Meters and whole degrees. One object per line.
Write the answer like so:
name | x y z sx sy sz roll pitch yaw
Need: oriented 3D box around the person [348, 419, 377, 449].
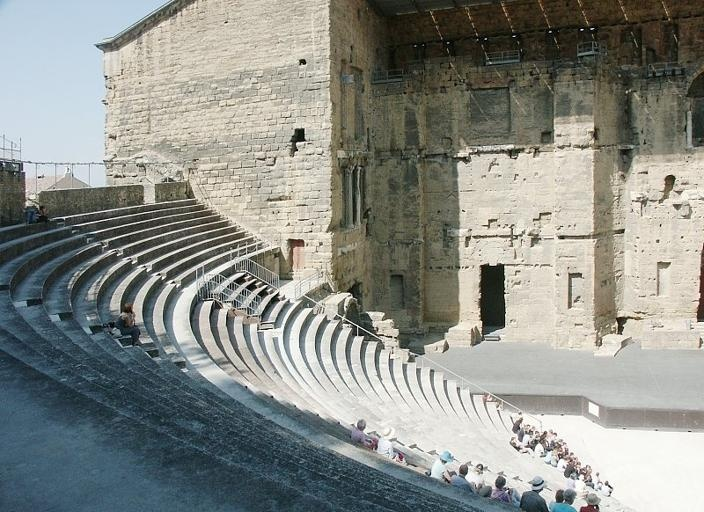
person | 0.256 5.033 29.221 0.660 0.830 0.437 18 -44 -38

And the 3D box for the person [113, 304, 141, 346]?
person | -6.222 1.906 29.279 0.531 1.094 0.726 -2 3 -45

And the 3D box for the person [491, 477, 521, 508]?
person | 4.233 6.313 28.619 0.784 0.880 1.881 1 2 9
